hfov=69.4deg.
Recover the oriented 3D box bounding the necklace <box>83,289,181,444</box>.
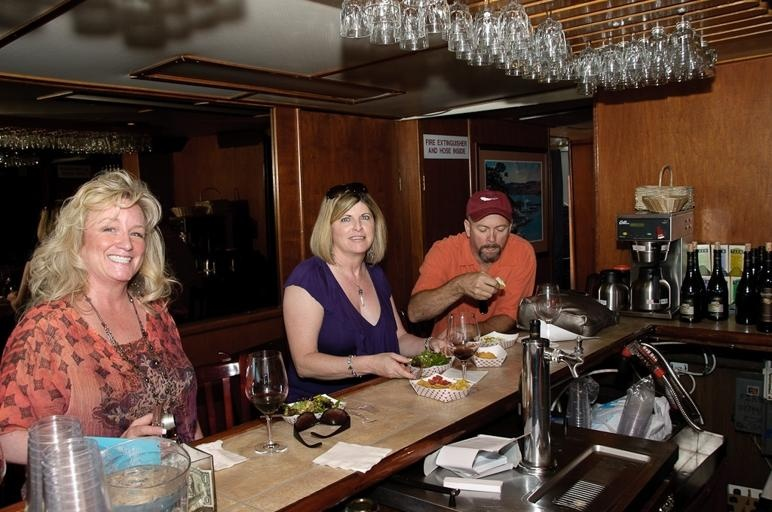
[{"bbox_3d":[-1.127,0.502,2.437,0.089,0.688,0.216,-38,-18,34],"label":"necklace"}]

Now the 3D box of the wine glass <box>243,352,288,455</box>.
[{"bbox_3d":[-0.470,0.553,2.198,0.156,0.362,0.283,-5,8,-14],"label":"wine glass"}]

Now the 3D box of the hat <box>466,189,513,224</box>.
[{"bbox_3d":[0.694,-0.344,3.824,0.313,0.196,0.399,-3,14,-14],"label":"hat"}]

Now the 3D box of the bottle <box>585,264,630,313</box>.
[{"bbox_3d":[1.604,0.248,4.201,0.407,0.396,0.311,-2,3,5],"label":"bottle"}]

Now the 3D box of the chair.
[{"bbox_3d":[-0.764,0.695,2.809,0.252,0.394,0.268,-2,-7,16],"label":"chair"}]

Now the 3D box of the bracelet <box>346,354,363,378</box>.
[{"bbox_3d":[-0.166,0.573,2.851,0.038,0.104,0.084,-4,19,-8],"label":"bracelet"}]

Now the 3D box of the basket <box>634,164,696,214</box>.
[{"bbox_3d":[2.125,-0.494,4.273,0.341,0.251,0.573,0,3,20],"label":"basket"}]

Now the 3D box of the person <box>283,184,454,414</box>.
[{"bbox_3d":[-0.110,0.206,3.135,0.793,1.212,0.744,2,9,37],"label":"person"}]
